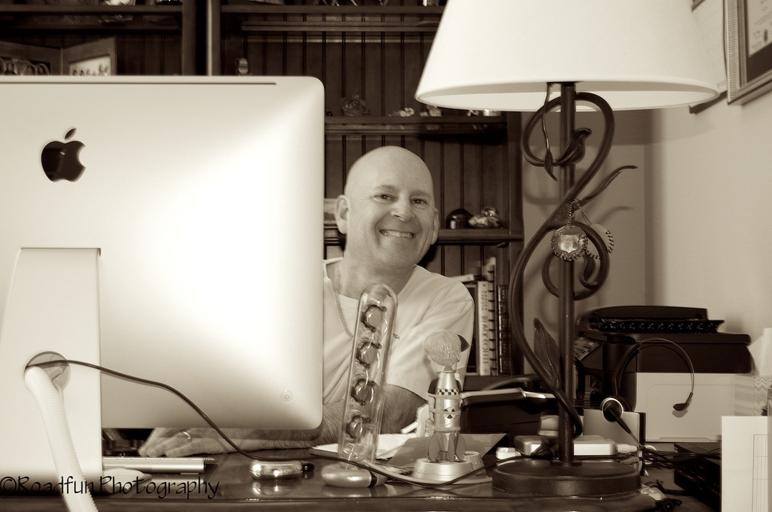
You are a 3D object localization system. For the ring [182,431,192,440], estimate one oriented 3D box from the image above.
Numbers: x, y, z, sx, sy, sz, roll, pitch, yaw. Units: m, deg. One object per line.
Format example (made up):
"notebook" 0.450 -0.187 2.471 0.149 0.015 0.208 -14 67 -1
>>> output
"ring" -0.447 0.407 1.948 0.018 0.021 0.022 0 -10 4
